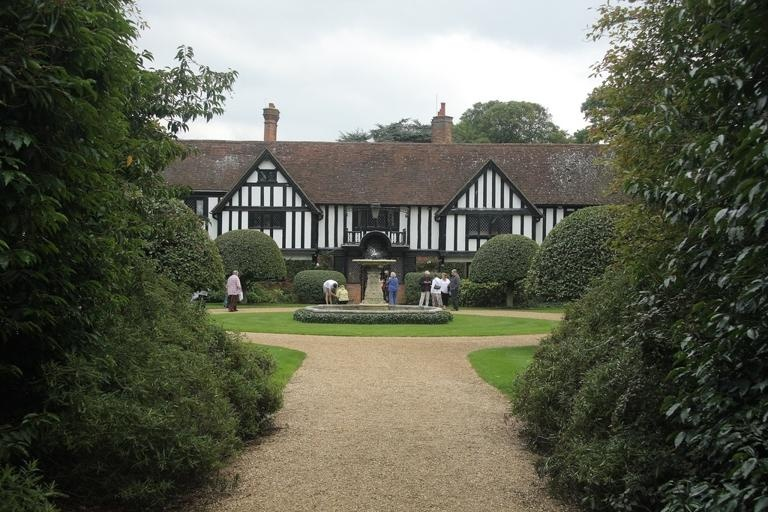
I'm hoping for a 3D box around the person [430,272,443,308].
[{"bbox_3d":[1.627,1.132,25.765,0.362,0.866,0.806,2,2,4],"label":"person"}]
